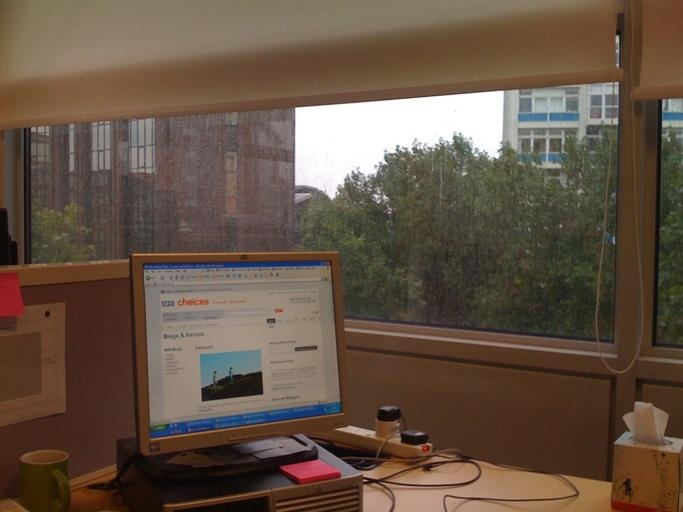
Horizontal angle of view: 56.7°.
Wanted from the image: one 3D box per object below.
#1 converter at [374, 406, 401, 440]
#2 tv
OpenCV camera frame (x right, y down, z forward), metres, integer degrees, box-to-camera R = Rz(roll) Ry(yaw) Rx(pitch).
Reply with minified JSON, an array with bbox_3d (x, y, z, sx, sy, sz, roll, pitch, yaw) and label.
[{"bbox_3d":[0.154,0.546,2.061,0.089,0.096,0.068,4,-5,-6],"label":"converter"},{"bbox_3d":[-0.295,0.321,1.758,0.563,0.592,0.213,-1,-5,-19],"label":"tv"}]
